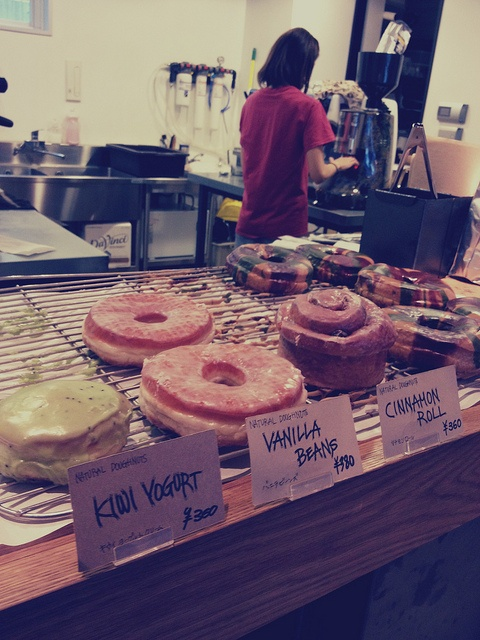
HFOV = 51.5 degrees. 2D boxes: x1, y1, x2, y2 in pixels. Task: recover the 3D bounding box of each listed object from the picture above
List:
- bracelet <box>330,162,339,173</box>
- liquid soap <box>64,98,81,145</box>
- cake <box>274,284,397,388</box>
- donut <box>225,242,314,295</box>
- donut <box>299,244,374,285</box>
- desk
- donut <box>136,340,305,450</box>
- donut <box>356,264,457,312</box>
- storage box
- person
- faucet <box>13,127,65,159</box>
[{"bbox_3d":[0.412,-0.673,2.206,0.013,0.041,0.043,-34,-9,18],"label":"bracelet"},{"bbox_3d":[-1.261,-1.490,3.747,0.147,0.418,0.249,2,22,-18],"label":"liquid soap"},{"bbox_3d":[0.114,0.025,0.752,0.193,0.108,0.177,4,17,-3],"label":"cake"},{"bbox_3d":[0.074,-0.113,1.120,0.205,0.059,0.226,8,18,-3],"label":"donut"},{"bbox_3d":[0.227,-0.119,1.135,0.122,0.039,0.123,-1,21,-31],"label":"donut"},{"bbox_3d":[0.137,-0.632,2.994,0.672,0.411,0.849,-9,30,-32],"label":"desk"},{"bbox_3d":[-0.019,0.081,0.597,0.179,0.052,0.195,20,25,40],"label":"donut"},{"bbox_3d":[0.324,-0.064,0.979,0.128,0.044,0.126,17,22,13],"label":"donut"},{"bbox_3d":[0.434,-0.233,1.249,0.230,0.163,0.223,18,27,30],"label":"storage box"},{"bbox_3d":[0.202,-0.762,2.221,0.244,0.923,0.537,-16,27,-42],"label":"person"},{"bbox_3d":[-1.429,-1.240,3.495,0.256,0.117,0.192,27,32,37],"label":"faucet"}]
